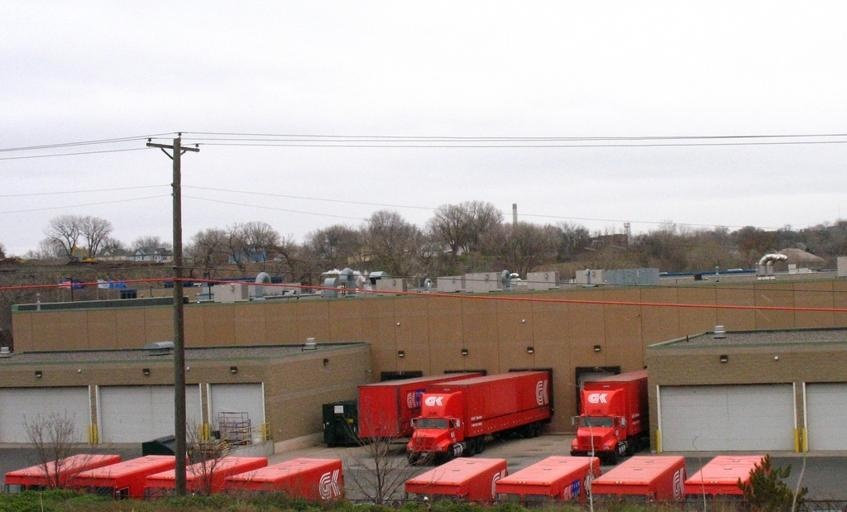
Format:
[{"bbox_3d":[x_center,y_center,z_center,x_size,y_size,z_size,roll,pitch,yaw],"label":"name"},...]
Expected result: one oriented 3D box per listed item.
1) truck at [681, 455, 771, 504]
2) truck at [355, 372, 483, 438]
[{"bbox_3d":[21.308,15.901,127.465,5.117,2.637,6.558,-3,-4,15],"label":"truck"},{"bbox_3d":[-0.119,12.088,141.778,5.406,4.568,16.147,2,1,24],"label":"truck"}]
